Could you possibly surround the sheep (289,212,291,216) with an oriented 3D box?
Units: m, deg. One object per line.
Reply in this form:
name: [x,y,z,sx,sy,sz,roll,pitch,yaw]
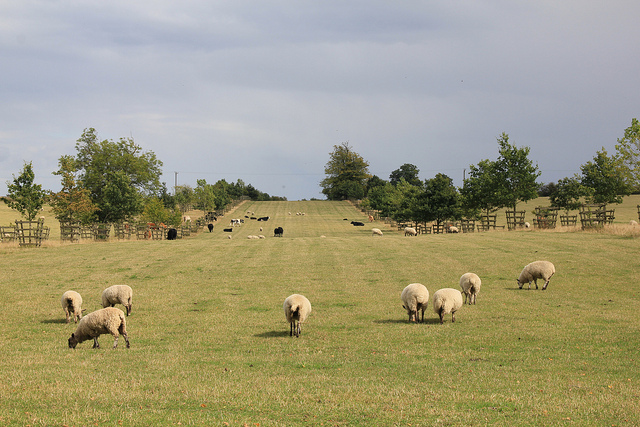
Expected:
sheep: [-6.569,-0.010,186.139,0.637,0.446,0.762,1,-4,-11]
